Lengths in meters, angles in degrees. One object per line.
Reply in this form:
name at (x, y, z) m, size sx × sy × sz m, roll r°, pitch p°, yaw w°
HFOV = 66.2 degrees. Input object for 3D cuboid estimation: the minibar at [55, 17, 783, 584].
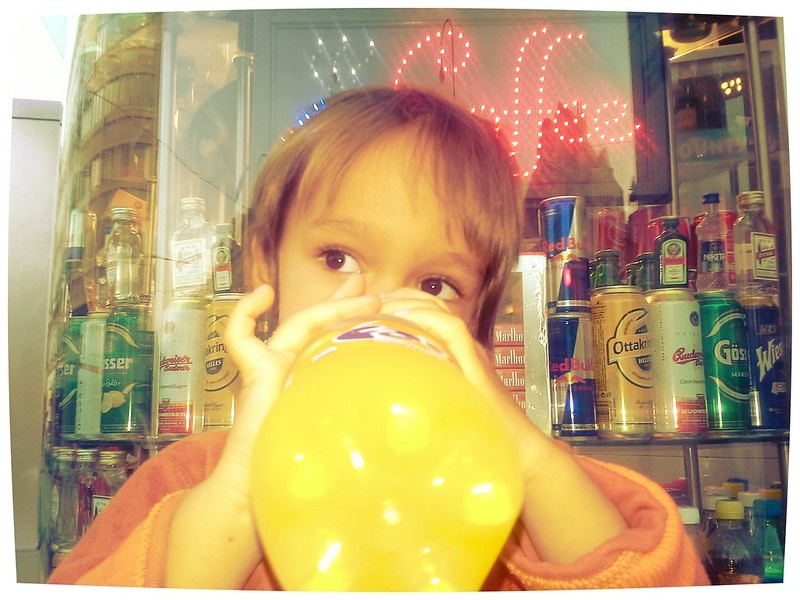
minibar at (0.062, 0.006, 0.803) m, size 0.801 × 0.671 × 0.258 m, roll 1°, pitch 0°, yaw 2°

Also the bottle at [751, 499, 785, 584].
bottle at (0.502, 0.328, 0.839) m, size 0.038 × 0.111 × 0.015 m, roll -3°, pitch -7°, yaw 14°

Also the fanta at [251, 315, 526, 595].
fanta at (-0.014, 0.129, 0.639) m, size 0.245 × 0.219 × 0.363 m, roll 8°, pitch 14°, yaw -6°
